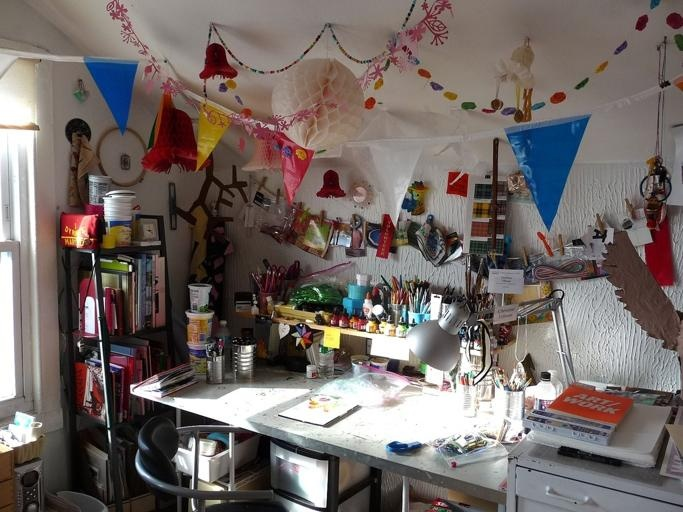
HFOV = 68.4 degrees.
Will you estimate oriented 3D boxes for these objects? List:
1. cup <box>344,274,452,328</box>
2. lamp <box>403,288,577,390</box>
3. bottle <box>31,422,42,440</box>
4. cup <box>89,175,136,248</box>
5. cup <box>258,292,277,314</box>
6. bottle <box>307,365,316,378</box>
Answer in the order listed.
[{"bbox_3d":[0.323,0.230,2.663,0.395,0.311,0.280,5,3,21],"label":"cup"},{"bbox_3d":[0.670,0.372,2.310,0.958,0.463,0.375,1,4,-34],"label":"lamp"},{"bbox_3d":[-1.471,0.840,2.408,0.047,0.060,0.060,3,2,-30],"label":"bottle"},{"bbox_3d":[-1.258,-0.248,2.751,0.222,0.377,0.321,0,5,-43],"label":"cup"},{"bbox_3d":[-0.436,0.272,2.983,0.109,0.126,0.115,1,3,0],"label":"cup"},{"bbox_3d":[-0.165,0.639,2.780,0.057,0.061,0.059,0,2,34],"label":"bottle"}]
